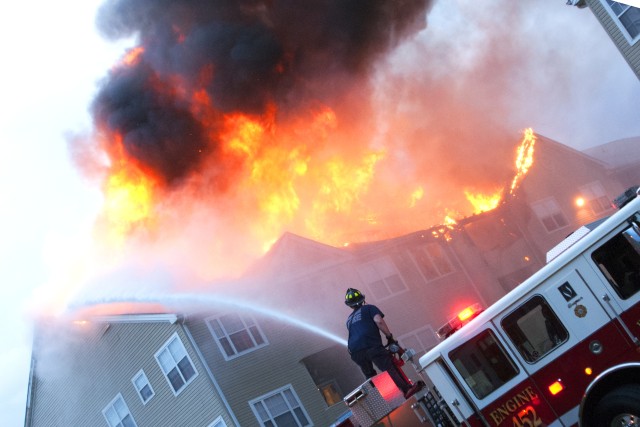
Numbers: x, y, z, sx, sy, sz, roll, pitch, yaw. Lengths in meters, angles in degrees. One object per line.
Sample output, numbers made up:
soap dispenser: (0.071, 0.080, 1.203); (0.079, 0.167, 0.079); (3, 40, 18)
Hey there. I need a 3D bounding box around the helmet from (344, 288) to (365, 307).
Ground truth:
helmet: (0.859, 2.131, 13.026); (0.403, 0.476, 0.518); (-27, -7, -11)
